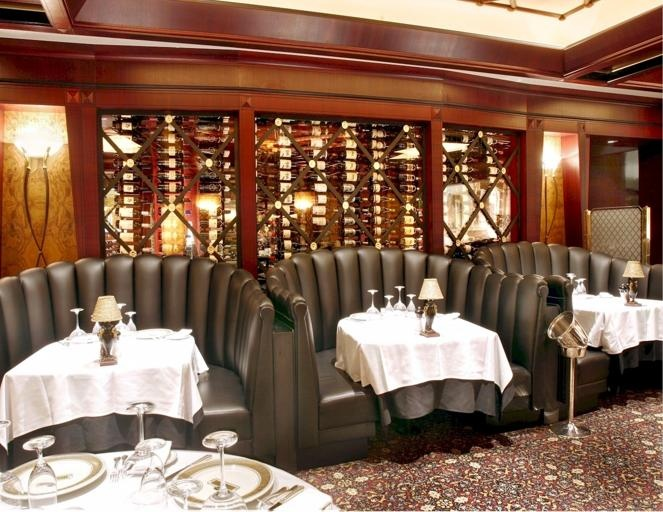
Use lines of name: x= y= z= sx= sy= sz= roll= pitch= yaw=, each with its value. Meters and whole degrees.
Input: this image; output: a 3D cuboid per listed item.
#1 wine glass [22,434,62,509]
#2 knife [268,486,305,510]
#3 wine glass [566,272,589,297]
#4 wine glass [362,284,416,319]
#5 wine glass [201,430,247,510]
wine glass: x=-1.223 y=0.884 z=2.282 sx=0.122 sy=0.278 sz=0.264 roll=-8 pitch=14 yaw=-30
knife: x=-0.183 y=1.007 z=2.259 sx=0.048 sy=0.022 sz=0.213 roll=27 pitch=22 yaw=25
wine glass: x=2.306 y=0.273 z=5.062 sx=0.215 sy=0.195 sz=0.082 roll=0 pitch=0 yaw=-43
wine glass: x=0.539 y=0.382 z=4.599 sx=0.617 sy=0.329 sz=0.212 roll=-3 pitch=4 yaw=-31
wine glass: x=-0.496 y=0.827 z=2.426 sx=0.135 sy=0.281 sz=0.666 roll=-4 pitch=12 yaw=-14
